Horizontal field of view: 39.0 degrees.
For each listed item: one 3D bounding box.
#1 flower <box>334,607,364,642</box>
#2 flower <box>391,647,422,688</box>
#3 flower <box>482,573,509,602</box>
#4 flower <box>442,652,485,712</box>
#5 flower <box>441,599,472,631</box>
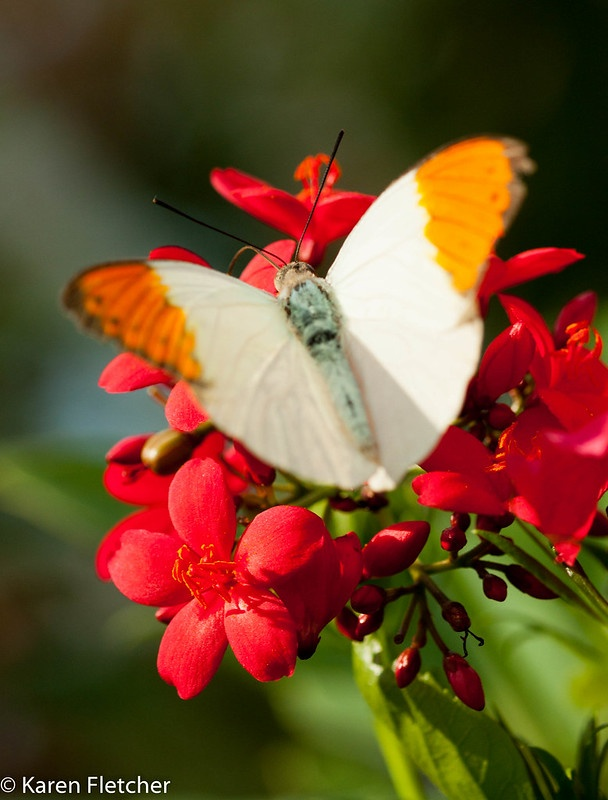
[{"bbox_3d":[0.110,0.474,1.840,0.019,0.075,0.053,-22,-12,-47],"label":"flower"},{"bbox_3d":[0.208,0.539,1.732,0.040,0.021,0.067,0,35,36],"label":"flower"},{"bbox_3d":[0.421,0.412,1.888,0.052,0.062,0.018,-38,-15,10],"label":"flower"},{"bbox_3d":[0.328,0.575,1.754,0.058,0.124,0.128,-30,-18,-1],"label":"flower"},{"bbox_3d":[0.324,0.464,1.862,0.043,0.076,0.031,-53,-21,21],"label":"flower"}]
